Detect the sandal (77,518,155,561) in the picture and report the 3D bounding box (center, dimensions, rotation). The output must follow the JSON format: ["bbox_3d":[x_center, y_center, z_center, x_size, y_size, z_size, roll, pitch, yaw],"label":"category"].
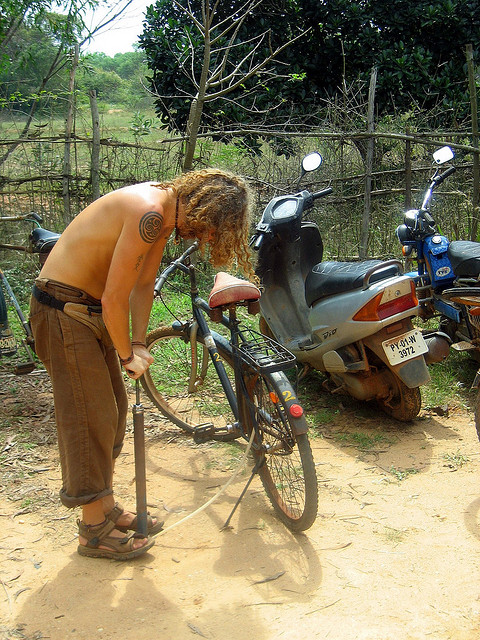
[{"bbox_3d":[-0.563,0.991,2.673,0.380,0.201,0.146,-2,7,1],"label":"sandal"}]

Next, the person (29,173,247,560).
[{"bbox_3d":[-0.435,0.085,2.508,0.873,1.377,0.587,-13,14,-28],"label":"person"}]

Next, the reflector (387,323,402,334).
[{"bbox_3d":[0.941,0.053,3.524,0.100,0.044,0.022,-16,4,-23],"label":"reflector"}]

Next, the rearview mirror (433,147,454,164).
[{"bbox_3d":[1.605,-1.293,4.558,0.056,0.122,0.188,-15,15,-36],"label":"rearview mirror"}]

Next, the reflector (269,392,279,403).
[{"bbox_3d":[0.164,0.372,2.765,0.015,0.050,0.030,-11,-13,-35],"label":"reflector"}]

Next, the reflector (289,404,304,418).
[{"bbox_3d":[0.248,0.420,2.665,0.067,0.054,0.015,7,-36,-14],"label":"reflector"}]

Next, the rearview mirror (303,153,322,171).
[{"bbox_3d":[0.541,-1.145,4.233,0.145,0.125,0.031,12,-7,44],"label":"rearview mirror"}]

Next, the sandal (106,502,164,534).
[{"bbox_3d":[-0.498,0.962,2.779,0.317,0.070,0.112,4,8,27],"label":"sandal"}]

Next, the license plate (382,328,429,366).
[{"bbox_3d":[0.992,0.167,3.512,0.271,0.136,0.016,-17,-11,-22],"label":"license plate"}]
